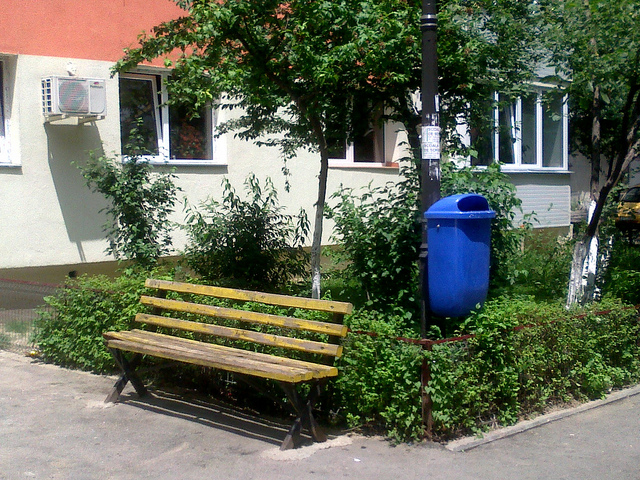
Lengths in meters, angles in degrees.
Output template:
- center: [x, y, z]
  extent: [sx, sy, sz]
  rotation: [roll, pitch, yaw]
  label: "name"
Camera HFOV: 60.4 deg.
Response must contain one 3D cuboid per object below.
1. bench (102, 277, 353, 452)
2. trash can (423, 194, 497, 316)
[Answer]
- center: [-1.040, 1.106, 5.368]
  extent: [2.680, 1.237, 0.918]
  rotation: [2, 0, 33]
  label: "bench"
- center: [1.362, 0.150, 5.310]
  extent: [0.678, 1.155, 0.730]
  rotation: [-1, 3, 1]
  label: "trash can"
